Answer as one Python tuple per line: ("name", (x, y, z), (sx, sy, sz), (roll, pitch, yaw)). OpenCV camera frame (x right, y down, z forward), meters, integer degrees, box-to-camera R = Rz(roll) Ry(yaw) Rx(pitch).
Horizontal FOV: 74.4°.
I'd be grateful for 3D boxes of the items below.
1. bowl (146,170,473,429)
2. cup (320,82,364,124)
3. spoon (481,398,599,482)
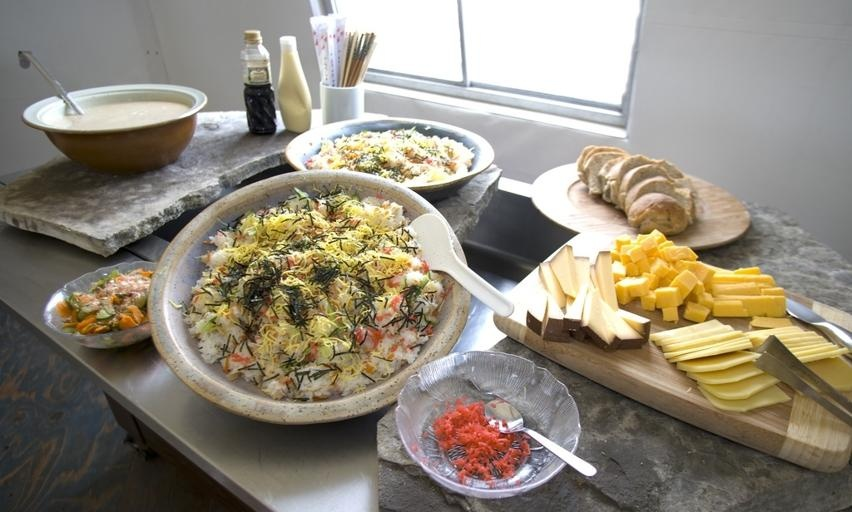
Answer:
("bowl", (-0.380, 0.102, 1.819), (0.942, 0.380, 0.854), (-17, 48, -26))
("cup", (-0.370, -0.755, 2.794), (0.232, 0.203, 0.192), (7, 32, 10))
("spoon", (0.334, 0.563, 1.710), (0.375, 0.108, 0.091), (30, 47, 22))
